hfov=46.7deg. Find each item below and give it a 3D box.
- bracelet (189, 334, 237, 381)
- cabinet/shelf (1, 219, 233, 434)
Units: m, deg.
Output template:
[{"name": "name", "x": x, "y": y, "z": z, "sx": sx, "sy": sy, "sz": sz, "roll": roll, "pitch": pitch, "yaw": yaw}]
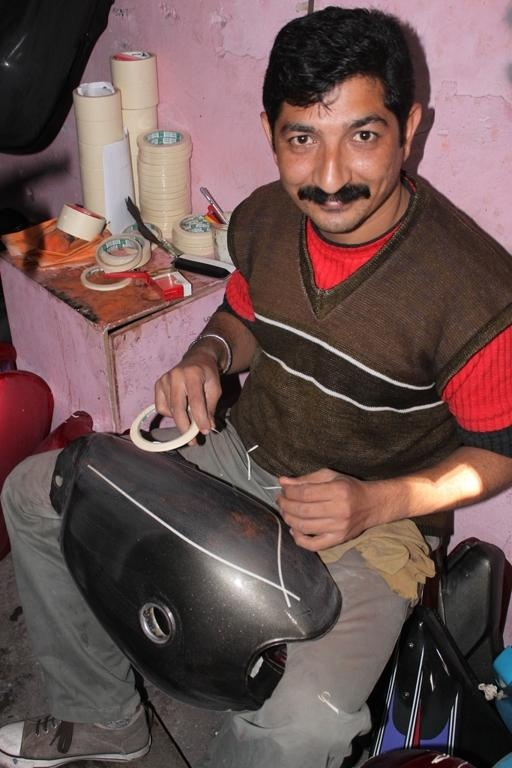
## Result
[{"name": "bracelet", "x": -0.094, "y": -0.067, "z": 1.412, "sx": 0.094, "sy": 0.095, "sz": 0.026, "roll": 2, "pitch": 8, "yaw": 23}, {"name": "cabinet/shelf", "x": -0.335, "y": -0.196, "z": 2.114, "sx": 0.693, "sy": 0.530, "sz": 0.857, "roll": -14, "pitch": 36, "yaw": -27}]
